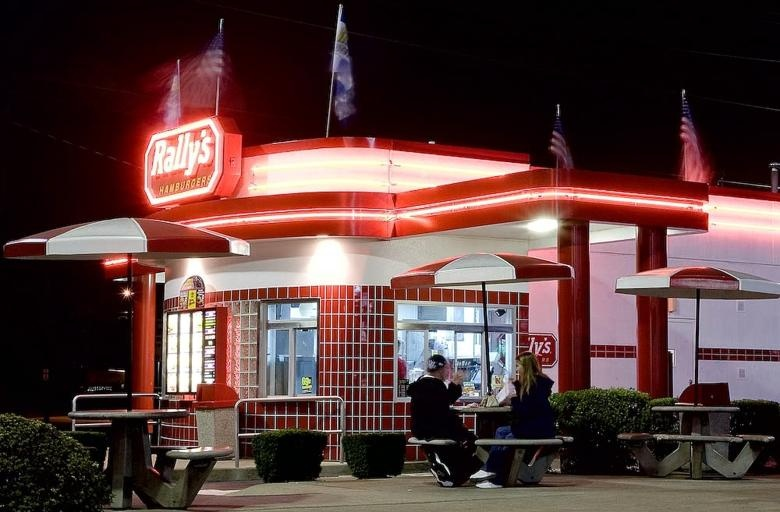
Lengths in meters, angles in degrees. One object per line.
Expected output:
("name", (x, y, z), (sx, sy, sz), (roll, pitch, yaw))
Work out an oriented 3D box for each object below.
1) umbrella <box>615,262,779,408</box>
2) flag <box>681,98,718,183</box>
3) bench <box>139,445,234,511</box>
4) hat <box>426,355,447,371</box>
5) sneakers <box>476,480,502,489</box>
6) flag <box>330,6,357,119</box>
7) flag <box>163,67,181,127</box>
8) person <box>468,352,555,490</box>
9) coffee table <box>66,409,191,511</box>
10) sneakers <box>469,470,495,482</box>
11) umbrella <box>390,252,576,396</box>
("umbrella", (5.375, 1.373, 17.181), (2.393, 2.398, 2.212), (7, -13, -32))
("flag", (9.512, -3.667, 30.795), (0.876, 3.254, 2.604), (-3, -12, 18))
("bench", (-2.998, 3.174, 14.128), (0.952, 0.850, 1.443), (9, -14, -37))
("hat", (0.765, 1.734, 16.177), (0.241, 0.265, 0.291), (3, 19, 20))
("sneakers", (1.548, 3.571, 15.477), (0.418, 0.149, 0.133), (5, -12, -8))
("flag", (-1.206, -4.852, 25.539), (0.562, 2.720, 0.639), (1, -12, -4))
("flag", (-6.183, -4.582, 28.255), (0.457, 2.270, 1.395), (3, -12, -12))
("person", (2.031, 2.583, 15.615), (1.079, 2.113, 0.719), (-8, -14, 35))
("coffee table", (-3.692, 2.897, 14.273), (1.520, 1.031, 1.541), (-4, -7, 36))
("sneakers", (1.477, 3.467, 15.577), (0.454, 0.174, 0.154), (0, -13, -1))
("umbrella", (1.805, 1.120, 18.003), (2.821, 1.952, 2.858), (-2, -4, 38))
